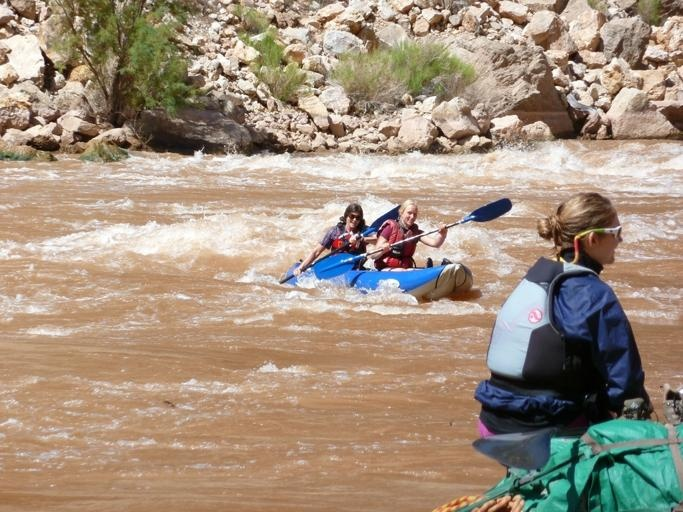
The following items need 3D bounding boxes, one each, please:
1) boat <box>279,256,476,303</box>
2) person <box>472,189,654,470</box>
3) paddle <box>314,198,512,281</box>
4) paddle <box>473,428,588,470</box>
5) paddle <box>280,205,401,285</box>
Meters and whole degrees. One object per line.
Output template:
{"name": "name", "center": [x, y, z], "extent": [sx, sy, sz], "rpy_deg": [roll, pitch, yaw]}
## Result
{"name": "boat", "center": [0.360, 0.175, 14.564], "extent": [2.749, 0.463, 0.839], "rpy_deg": [5, 11, 31]}
{"name": "person", "center": [1.893, 0.622, 9.524], "extent": [1.519, 2.346, 0.928], "rpy_deg": [0, 8, -14]}
{"name": "paddle", "center": [0.937, -0.197, 14.223], "extent": [2.775, 0.291, 0.150], "rpy_deg": [-19, 37, -5]}
{"name": "paddle", "center": [1.675, 1.680, 9.452], "extent": [1.043, 0.421, 0.351], "rpy_deg": [10, -6, 8]}
{"name": "paddle", "center": [-0.027, -0.108, 15.247], "extent": [2.412, 0.369, 0.148], "rpy_deg": [-27, 19, -2]}
